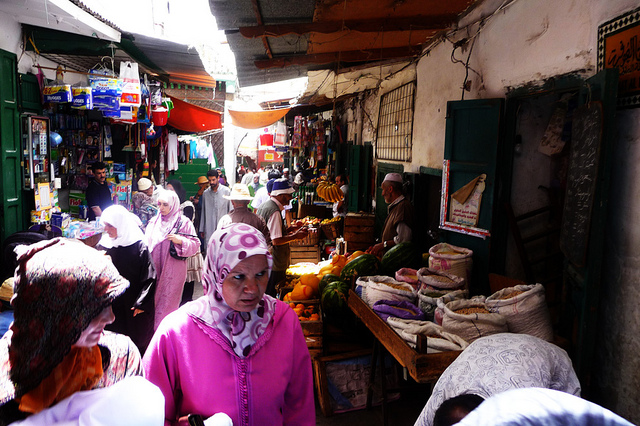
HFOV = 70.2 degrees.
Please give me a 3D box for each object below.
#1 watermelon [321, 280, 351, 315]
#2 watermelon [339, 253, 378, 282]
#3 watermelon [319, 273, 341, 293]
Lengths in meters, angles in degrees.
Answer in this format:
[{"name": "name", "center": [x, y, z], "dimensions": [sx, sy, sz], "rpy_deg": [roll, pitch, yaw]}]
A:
[{"name": "watermelon", "center": [0.138, 0.924, 5.102], "dimensions": [0.316, 0.384, 0.321], "rpy_deg": [3, 9, -6]}, {"name": "watermelon", "center": [0.494, 0.626, 5.349], "dimensions": [0.462, 0.231, 0.260], "rpy_deg": [-28, -13, -13]}, {"name": "watermelon", "center": [0.113, 0.801, 5.328], "dimensions": [0.191, 0.241, 0.204], "rpy_deg": [8, 7, 14]}]
